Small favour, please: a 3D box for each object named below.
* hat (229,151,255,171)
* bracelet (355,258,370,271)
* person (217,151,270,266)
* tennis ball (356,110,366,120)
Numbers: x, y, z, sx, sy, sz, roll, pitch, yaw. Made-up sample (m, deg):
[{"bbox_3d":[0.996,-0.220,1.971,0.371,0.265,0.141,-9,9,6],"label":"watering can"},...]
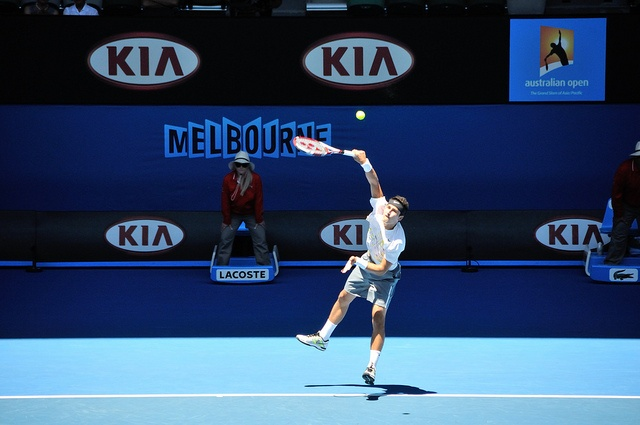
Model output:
[{"bbox_3d":[-1.392,-0.961,11.333,0.391,0.196,0.393,3,-23,-4],"label":"hat"},{"bbox_3d":[0.530,0.665,8.141,0.152,0.193,0.226,0,-26,2],"label":"bracelet"},{"bbox_3d":[-1.392,0.025,11.296,0.843,1.757,0.933,-2,-27,5],"label":"person"},{"bbox_3d":[0.777,-1.876,12.111,0.202,0.156,0.125,4,-27,-7],"label":"tennis ball"}]
